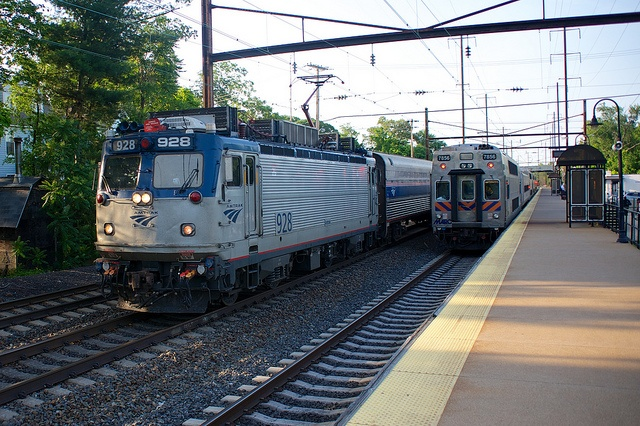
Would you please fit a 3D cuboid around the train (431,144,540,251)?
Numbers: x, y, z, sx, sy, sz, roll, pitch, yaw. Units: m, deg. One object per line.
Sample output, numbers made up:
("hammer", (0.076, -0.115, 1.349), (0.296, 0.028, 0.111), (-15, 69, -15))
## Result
("train", (7.602, -0.821, 22.127), (5.574, 4.694, 2.506), (-11, 11, -39))
